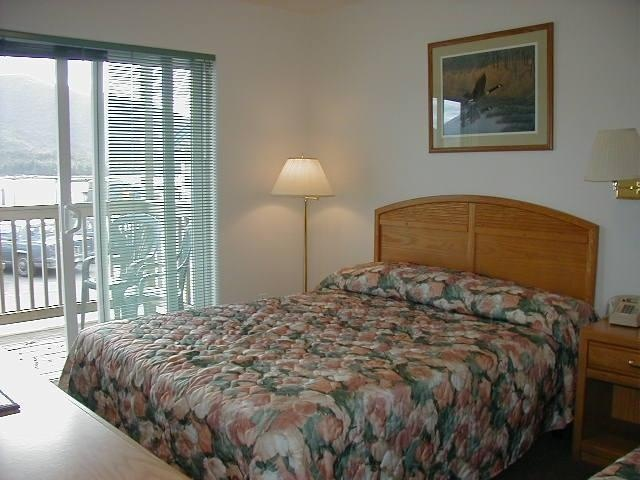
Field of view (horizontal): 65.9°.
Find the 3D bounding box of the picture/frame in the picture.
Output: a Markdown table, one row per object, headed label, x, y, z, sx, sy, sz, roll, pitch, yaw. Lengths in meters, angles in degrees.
| label | x | y | z | sx | sy | sz | roll | pitch | yaw |
| --- | --- | --- | --- | --- | --- | --- | --- | --- | --- |
| picture/frame | 1.223 | -1.063 | 3.577 | 0.046 | 0.834 | 1.067 | -20 | 21 | -33 |
